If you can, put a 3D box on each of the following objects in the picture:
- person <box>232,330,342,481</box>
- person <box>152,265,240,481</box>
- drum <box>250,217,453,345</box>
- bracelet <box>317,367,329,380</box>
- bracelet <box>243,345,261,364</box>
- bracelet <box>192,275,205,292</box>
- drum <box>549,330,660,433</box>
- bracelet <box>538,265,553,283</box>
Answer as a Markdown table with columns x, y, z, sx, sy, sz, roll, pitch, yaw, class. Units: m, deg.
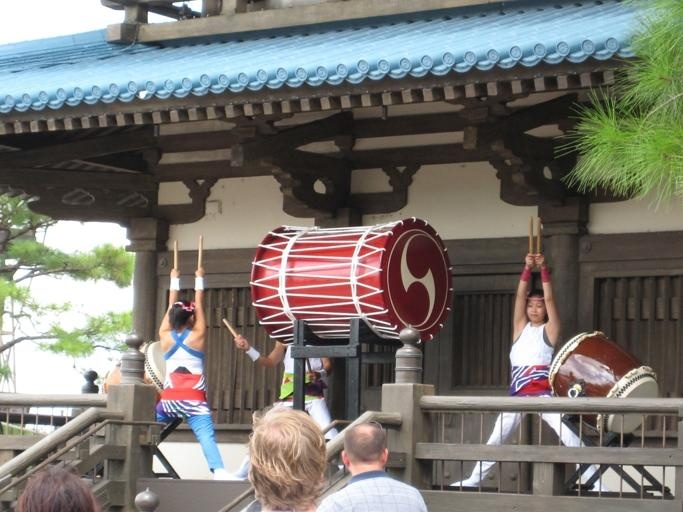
| x | y | z | sx | sy | sz | roll | pitch | yaw | class |
| --- | --- | --- | --- | --- | --- | --- | --- | --- | --- |
| -0.415 | 1.167 | 18.350 | 0.936 | 1.301 | 0.848 | -12 | -24 | 27 | person |
| -1.249 | 0.921 | 19.022 | 0.681 | 1.772 | 0.443 | -2 | -6 | 16 | person |
| 0.142 | 0.230 | 19.379 | 1.395 | 1.051 | 1.135 | -3 | -2 | 23 | drum |
| -0.171 | 0.966 | 19.434 | 0.092 | 0.083 | 0.089 | -1 | -18 | 27 | bracelet |
| -0.796 | 0.831 | 20.118 | 0.131 | 0.118 | 0.178 | -41 | 21 | -18 | bracelet |
| -1.190 | 0.214 | 19.337 | 0.128 | 0.129 | 0.116 | 4 | -6 | -32 | bracelet |
| 2.130 | 1.068 | 18.730 | 0.809 | 0.761 | 0.694 | 15 | 13 | -37 | drum |
| 1.694 | 0.130 | 19.026 | 0.100 | 0.145 | 0.150 | -8 | 6 | -12 | bracelet |
